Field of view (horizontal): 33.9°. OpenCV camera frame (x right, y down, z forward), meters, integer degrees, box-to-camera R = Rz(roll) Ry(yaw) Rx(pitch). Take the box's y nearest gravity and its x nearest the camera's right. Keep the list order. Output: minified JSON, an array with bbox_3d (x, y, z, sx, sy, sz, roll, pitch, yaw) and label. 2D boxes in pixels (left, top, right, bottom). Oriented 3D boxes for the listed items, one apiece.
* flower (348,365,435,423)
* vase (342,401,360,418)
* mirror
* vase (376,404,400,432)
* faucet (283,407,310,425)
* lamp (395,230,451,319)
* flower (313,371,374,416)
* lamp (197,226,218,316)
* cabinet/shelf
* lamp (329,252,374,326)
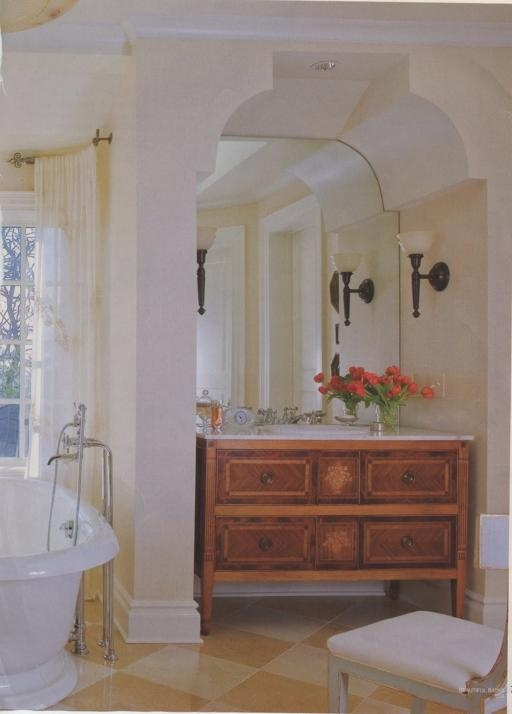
[{"bbox_3d":[0.552,0.161,3.470,0.283,0.242,0.353,2,2,-6],"label":"flower"},{"bbox_3d":[0.405,0.220,3.573,0.058,0.078,0.062,-3,6,-38],"label":"vase"},{"bbox_3d":[0.188,-0.357,3.574,0.900,1.160,0.128,2,2,-16],"label":"mirror"},{"bbox_3d":[0.541,0.246,3.441,0.107,0.172,0.111,-1,-3,11],"label":"vase"},{"bbox_3d":[0.166,0.247,3.534,0.109,0.060,0.043,2,2,1],"label":"faucet"},{"bbox_3d":[0.671,-0.337,3.396,0.113,0.341,0.240,2,2,-18],"label":"lamp"},{"bbox_3d":[0.369,0.146,3.589,0.198,0.185,0.194,-2,0,-36],"label":"flower"},{"bbox_3d":[-0.207,-0.358,3.480,0.077,0.371,0.092,2,2,-7],"label":"lamp"},{"bbox_3d":[0.269,0.717,3.171,1.164,0.795,0.654,1,-5,-7],"label":"cabinet/shelf"},{"bbox_3d":[0.413,-0.300,3.699,0.193,0.299,0.140,0,1,-14],"label":"lamp"}]
